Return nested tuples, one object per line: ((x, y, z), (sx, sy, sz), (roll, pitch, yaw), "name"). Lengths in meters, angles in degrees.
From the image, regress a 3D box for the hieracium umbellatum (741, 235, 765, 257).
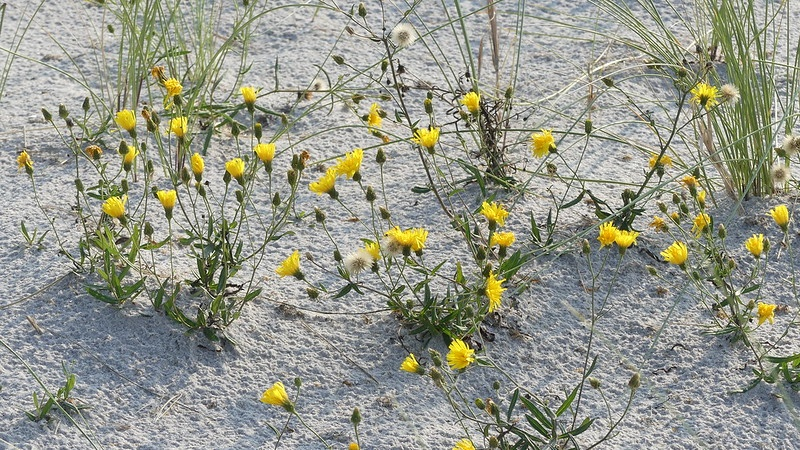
((1.413, 0.085, 4.402), (0.062, 0.061, 0.057), (49, 1, 14), "hieracium umbellatum")

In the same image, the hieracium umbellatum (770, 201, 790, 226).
((1.534, -0.046, 4.448), (0.054, 0.068, 0.059), (-30, 15, 8), "hieracium umbellatum")

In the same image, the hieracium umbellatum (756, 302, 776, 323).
((1.439, 0.337, 4.347), (0.053, 0.091, 0.083), (5, 24, 22), "hieracium umbellatum")

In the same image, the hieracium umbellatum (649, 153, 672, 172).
((1.071, -0.267, 4.558), (0.099, 0.105, 0.041), (2, 45, 19), "hieracium umbellatum")
